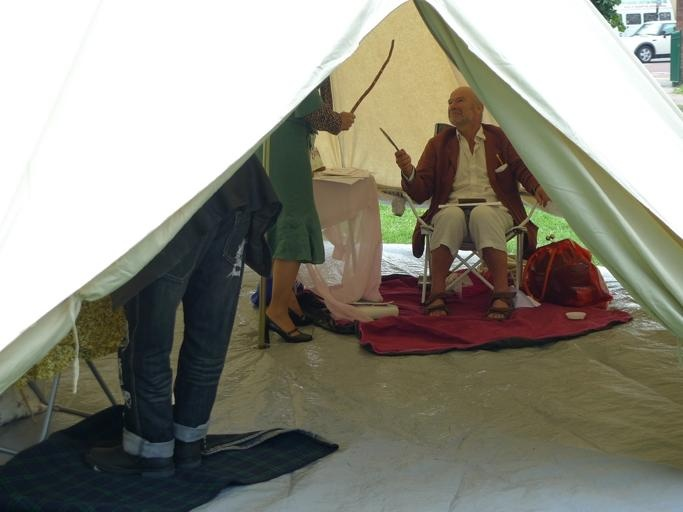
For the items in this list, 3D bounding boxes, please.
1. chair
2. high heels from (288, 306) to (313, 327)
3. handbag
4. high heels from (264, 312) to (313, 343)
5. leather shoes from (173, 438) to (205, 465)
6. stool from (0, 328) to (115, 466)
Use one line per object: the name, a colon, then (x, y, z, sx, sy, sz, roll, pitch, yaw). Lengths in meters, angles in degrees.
chair: (0.896, -0.078, 4.679, 0.922, 0.799, 0.625, 5, -3, 3)
high heels: (-0.286, 0.427, 4.204, 0.214, 0.090, 0.075, 32, -2, -4)
handbag: (1.646, 0.143, 4.568, 0.479, 0.536, 0.651, -14, 1, -33)
high heels: (-0.333, 0.469, 3.967, 0.361, 0.214, 0.128, 1, 4, -6)
leather shoes: (-0.621, 0.795, 2.525, 0.108, 0.114, 0.087, 1, -1, -1)
stool: (-1.307, 0.649, 2.869, 0.424, 0.623, 0.442, -9, 12, -42)
